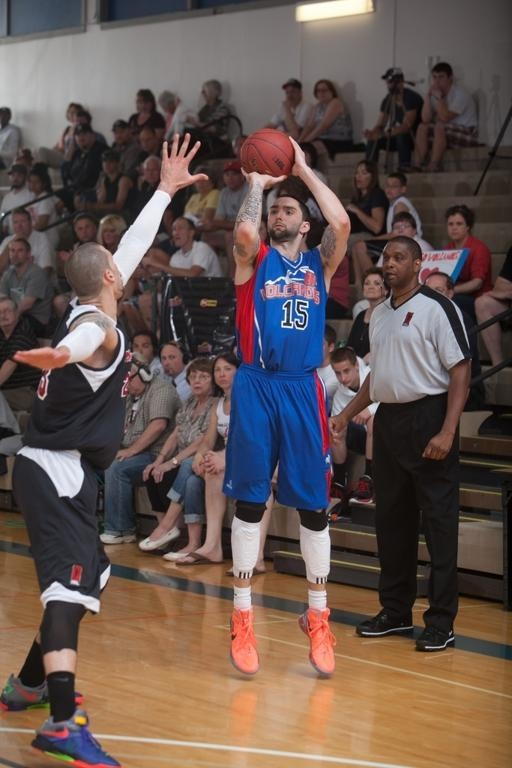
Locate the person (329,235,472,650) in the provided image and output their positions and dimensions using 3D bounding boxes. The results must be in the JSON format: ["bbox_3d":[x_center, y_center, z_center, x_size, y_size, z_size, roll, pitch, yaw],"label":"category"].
[{"bbox_3d":[0.663,0.238,3.041,0.512,1.815,0.620,4,-5,-41],"label":"person"}]

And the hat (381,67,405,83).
[{"bbox_3d":[1.682,-3.750,8.147,0.290,0.162,0.191,1,10,14],"label":"hat"}]

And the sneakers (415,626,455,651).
[{"bbox_3d":[0.795,1.098,2.901,0.213,0.084,0.074,8,-11,-42],"label":"sneakers"}]

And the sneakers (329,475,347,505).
[{"bbox_3d":[0.556,0.753,4.660,0.146,0.175,0.166,-1,-9,1],"label":"sneakers"}]

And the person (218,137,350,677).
[{"bbox_3d":[0.116,0.075,2.517,0.450,1.996,0.418,3,-8,-4],"label":"person"}]

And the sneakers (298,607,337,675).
[{"bbox_3d":[0.269,0.949,2.528,0.094,0.122,0.267,8,33,-26],"label":"sneakers"}]

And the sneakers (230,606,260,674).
[{"bbox_3d":[-0.046,0.939,2.444,0.088,0.106,0.252,2,15,-10],"label":"sneakers"}]

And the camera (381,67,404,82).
[{"bbox_3d":[1.684,-3.734,8.156,0.285,0.162,0.187,-1,8,7],"label":"camera"}]

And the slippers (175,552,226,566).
[{"bbox_3d":[-0.390,1.201,4.633,0.281,0.068,0.107,4,-9,-16],"label":"slippers"}]

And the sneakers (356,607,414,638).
[{"bbox_3d":[0.600,1.118,3.148,0.314,0.133,0.101,2,-4,-17],"label":"sneakers"}]

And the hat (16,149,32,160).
[{"bbox_3d":[-3.890,-3.841,11.192,0.226,0.209,0.161,9,12,6],"label":"hat"}]
